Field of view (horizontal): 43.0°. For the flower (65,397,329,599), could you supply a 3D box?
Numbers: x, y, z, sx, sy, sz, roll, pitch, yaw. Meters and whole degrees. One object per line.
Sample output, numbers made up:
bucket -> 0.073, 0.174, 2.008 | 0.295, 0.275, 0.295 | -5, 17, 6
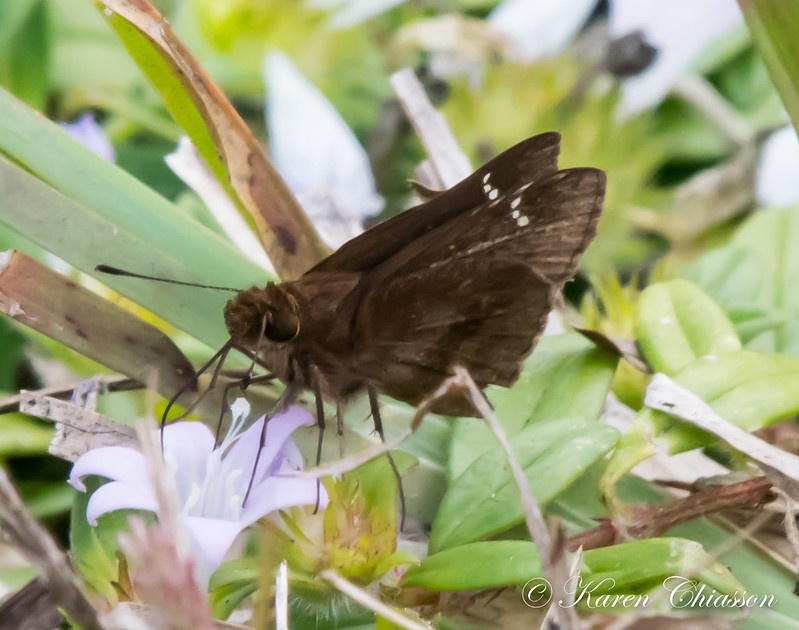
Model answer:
flower -> -0.186, 0.137, 0.894 | 0.177, 0.078, 0.172 | -10, 18, -39
